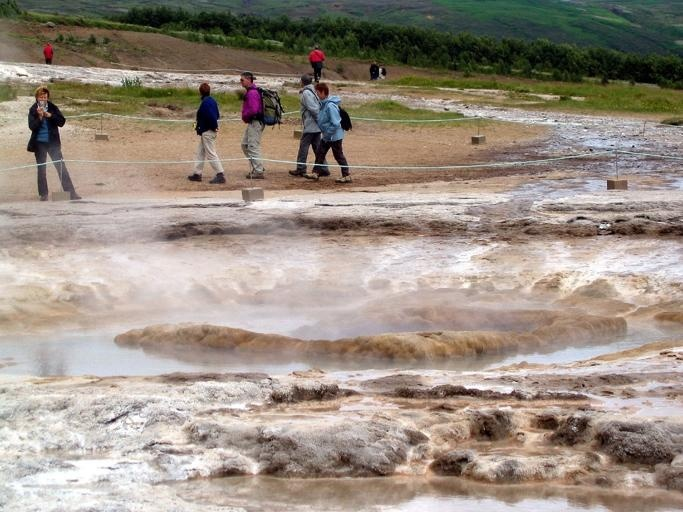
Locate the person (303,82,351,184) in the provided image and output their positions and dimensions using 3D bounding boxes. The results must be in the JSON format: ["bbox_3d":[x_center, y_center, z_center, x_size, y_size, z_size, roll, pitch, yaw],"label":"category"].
[{"bbox_3d":[-0.263,-2.375,15.536,0.887,1.960,1.222,-6,16,-1],"label":"person"}]

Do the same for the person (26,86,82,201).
[{"bbox_3d":[-4.953,-1.887,13.385,0.699,1.889,1.157,-11,17,-15],"label":"person"}]

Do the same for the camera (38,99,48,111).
[{"bbox_3d":[-4.905,-2.474,13.090,0.185,0.108,0.171,0,-4,3],"label":"camera"}]

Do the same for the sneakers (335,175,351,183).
[{"bbox_3d":[-0.023,-1.492,15.639,0.371,0.123,0.116,6,15,21],"label":"sneakers"}]
